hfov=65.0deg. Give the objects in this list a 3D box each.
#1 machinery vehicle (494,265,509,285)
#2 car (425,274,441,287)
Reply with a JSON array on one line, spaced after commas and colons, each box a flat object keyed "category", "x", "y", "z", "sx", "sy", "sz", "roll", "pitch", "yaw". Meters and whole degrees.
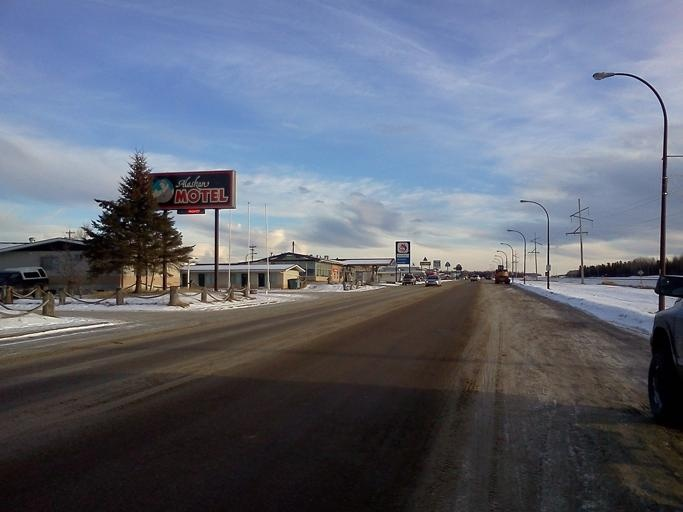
[{"category": "machinery vehicle", "x": 23.098, "y": 2.739, "z": 77.086, "sx": 2.939, "sy": 3.027, "sz": 5.149, "roll": 1, "pitch": 1, "yaw": 12}, {"category": "car", "x": 12.026, "y": 2.946, "z": 70.474, "sx": 1.573, "sy": 1.334, "sz": 2.438, "roll": 1, "pitch": -1, "yaw": 4}]
